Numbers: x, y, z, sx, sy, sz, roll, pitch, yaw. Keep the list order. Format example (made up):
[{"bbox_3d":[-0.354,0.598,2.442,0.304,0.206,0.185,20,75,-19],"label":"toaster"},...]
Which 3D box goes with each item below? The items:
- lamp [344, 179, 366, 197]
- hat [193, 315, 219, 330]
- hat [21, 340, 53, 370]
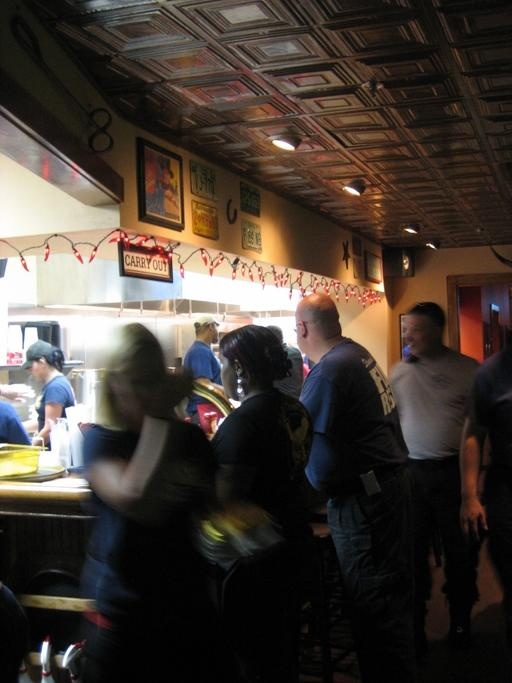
[{"bbox_3d":[0.931,-1.453,5.175,0.122,0.080,0.162,34,-25,-30],"label":"lamp"},{"bbox_3d":[-0.484,-0.191,5.354,0.192,0.091,0.131,0,-3,-38],"label":"hat"},{"bbox_3d":[-1.779,0.113,4.486,0.277,0.158,0.182,-11,1,11],"label":"hat"}]
